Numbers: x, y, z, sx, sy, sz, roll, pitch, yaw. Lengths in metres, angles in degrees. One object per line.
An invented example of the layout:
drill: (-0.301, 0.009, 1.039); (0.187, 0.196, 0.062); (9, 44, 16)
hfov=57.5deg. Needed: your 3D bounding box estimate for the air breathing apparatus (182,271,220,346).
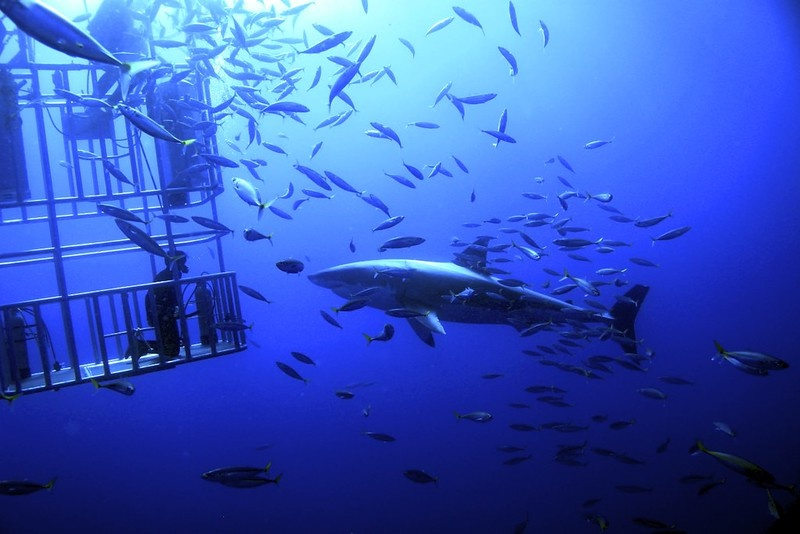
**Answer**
air breathing apparatus: (-3.000, 0.723, 11.008); (0.457, 1.034, 0.766); (-5, -18, -15)
